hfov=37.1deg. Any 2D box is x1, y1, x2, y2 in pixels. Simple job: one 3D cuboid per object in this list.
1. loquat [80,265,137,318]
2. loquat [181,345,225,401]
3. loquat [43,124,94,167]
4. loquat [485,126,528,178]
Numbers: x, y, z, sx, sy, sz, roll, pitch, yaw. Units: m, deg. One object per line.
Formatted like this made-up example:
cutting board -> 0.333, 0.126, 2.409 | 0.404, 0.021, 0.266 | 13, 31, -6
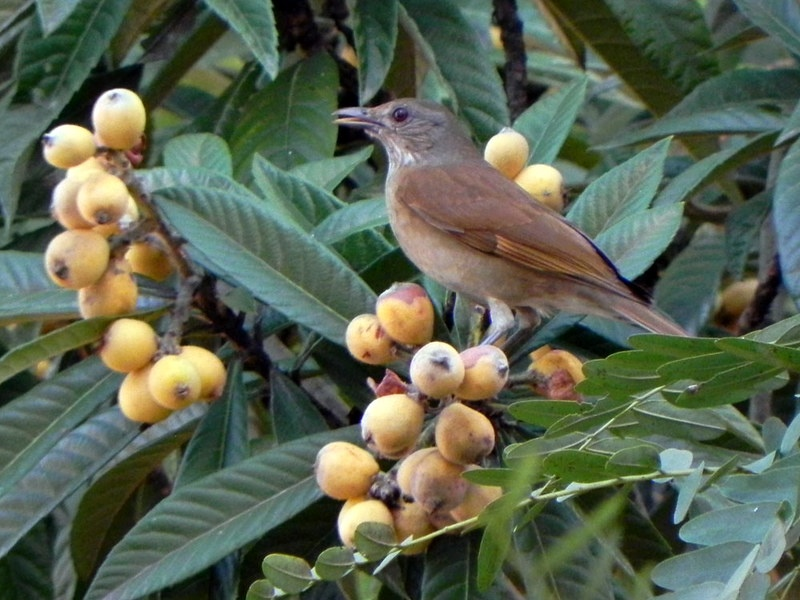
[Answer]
loquat -> -0.843, -0.013, 3.534 | 0.178, 0.130, 0.128 | -25, -4, -7
loquat -> -0.595, 0.213, 3.488 | 0.125, 0.120, 0.157 | -1, 15, -30
loquat -> -0.938, -0.449, 3.466 | 0.147, 0.107, 0.107 | -25, 40, -38
loquat -> 0.355, -0.473, 3.926 | 0.142, 0.149, 0.096 | 7, 47, -11
